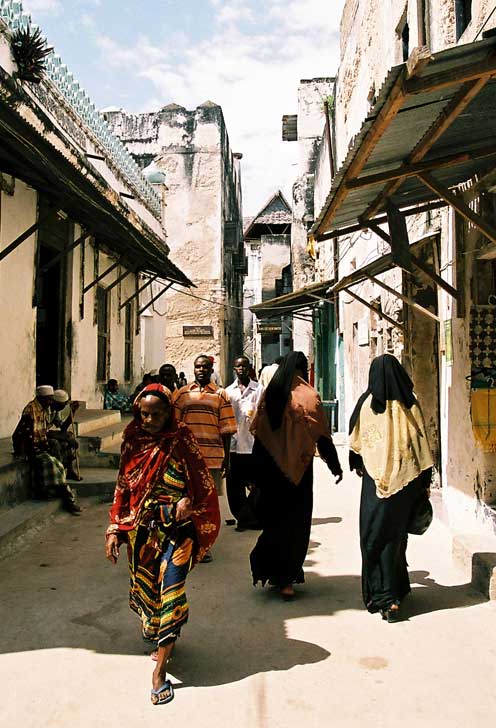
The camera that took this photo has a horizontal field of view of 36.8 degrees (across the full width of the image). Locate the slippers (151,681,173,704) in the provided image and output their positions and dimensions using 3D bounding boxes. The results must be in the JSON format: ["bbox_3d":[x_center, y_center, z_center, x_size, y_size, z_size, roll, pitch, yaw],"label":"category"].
[{"bbox_3d":[-0.343,1.322,2.986,0.096,0.057,0.109,0,-1,-12],"label":"slippers"}]

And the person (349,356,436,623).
[{"bbox_3d":[0.779,0.663,4.225,0.464,1.429,0.505,0,-1,23],"label":"person"}]

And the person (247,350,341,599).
[{"bbox_3d":[0.284,0.670,4.666,0.540,1.487,0.456,0,-1,-1],"label":"person"}]

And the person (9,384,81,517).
[{"bbox_3d":[-1.796,0.787,6.580,0.289,1.163,0.706,0,-1,23],"label":"person"}]

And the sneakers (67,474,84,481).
[{"bbox_3d":[-1.809,1.199,7.821,0.184,0.081,0.060,5,1,-22],"label":"sneakers"}]

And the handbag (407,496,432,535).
[{"bbox_3d":[0.968,0.855,4.280,0.068,0.211,0.149,16,1,28],"label":"handbag"}]

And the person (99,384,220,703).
[{"bbox_3d":[-0.413,0.724,3.263,0.470,1.261,0.607,0,-1,8],"label":"person"}]

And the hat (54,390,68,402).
[{"bbox_3d":[-1.829,0.317,7.291,0.135,0.088,0.132,-2,15,-40],"label":"hat"}]
